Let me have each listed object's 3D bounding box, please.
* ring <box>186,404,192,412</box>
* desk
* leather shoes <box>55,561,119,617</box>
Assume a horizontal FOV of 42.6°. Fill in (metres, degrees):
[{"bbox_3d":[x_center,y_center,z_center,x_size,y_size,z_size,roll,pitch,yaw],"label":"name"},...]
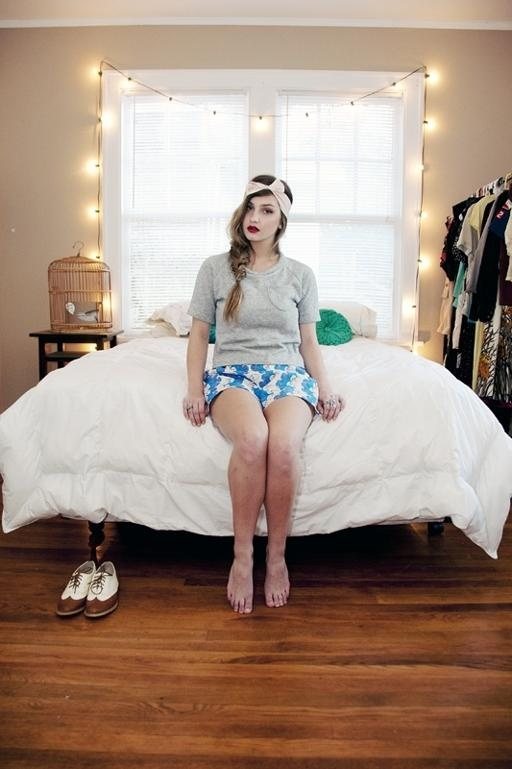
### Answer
[{"bbox_3d":[-0.199,0.069,1.959,0.020,0.019,0.006,0,-16,7],"label":"ring"},{"bbox_3d":[-0.999,-0.220,3.654,0.448,0.414,0.390,0,5,-11],"label":"desk"},{"bbox_3d":[-0.465,0.581,1.878,0.100,0.052,0.148,2,11,2],"label":"leather shoes"}]
